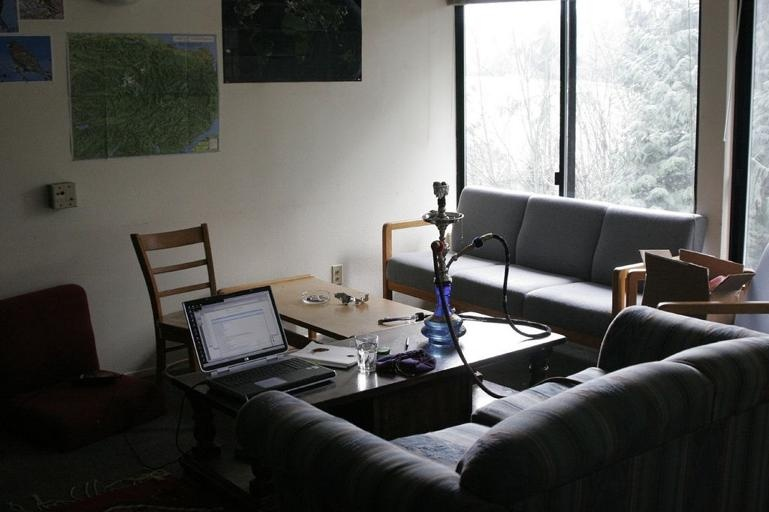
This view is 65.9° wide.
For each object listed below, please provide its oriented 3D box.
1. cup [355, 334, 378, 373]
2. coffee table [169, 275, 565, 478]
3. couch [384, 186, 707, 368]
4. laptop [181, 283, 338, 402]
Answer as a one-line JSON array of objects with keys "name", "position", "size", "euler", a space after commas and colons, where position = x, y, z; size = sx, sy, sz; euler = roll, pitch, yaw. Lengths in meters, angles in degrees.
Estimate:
[{"name": "cup", "position": [-0.076, 0.486, 2.889], "size": [0.149, 0.197, 0.146], "euler": [-1, 0, 0]}, {"name": "coffee table", "position": [0.062, 0.640, 2.908], "size": [1.346, 0.306, 1.333], "euler": [-9, 16, -36]}, {"name": "couch", "position": [1.170, 0.138, 4.833], "size": [0.970, 1.113, 2.759], "euler": [-7, 11, -29]}, {"name": "laptop", "position": [-0.601, 0.420, 2.827], "size": [0.540, 0.406, 0.590], "euler": [-12, 16, -40]}]
